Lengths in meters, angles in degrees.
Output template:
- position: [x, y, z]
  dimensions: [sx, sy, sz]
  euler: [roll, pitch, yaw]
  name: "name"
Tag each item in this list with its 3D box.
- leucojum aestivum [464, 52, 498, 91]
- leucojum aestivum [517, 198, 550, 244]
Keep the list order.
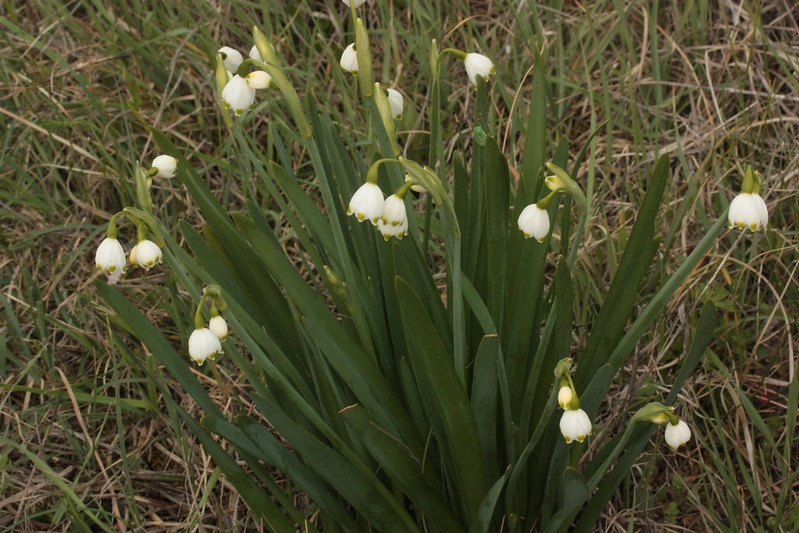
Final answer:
- position: [0.329, -0.821, 3.022]
  dimensions: [0.123, 0.174, 0.101]
  euler: [2, 54, 6]
  name: "leucojum aestivum"
- position: [0.502, -0.165, 2.735]
  dimensions: [0.105, 0.149, 0.101]
  euler: [-1, 54, 4]
  name: "leucojum aestivum"
